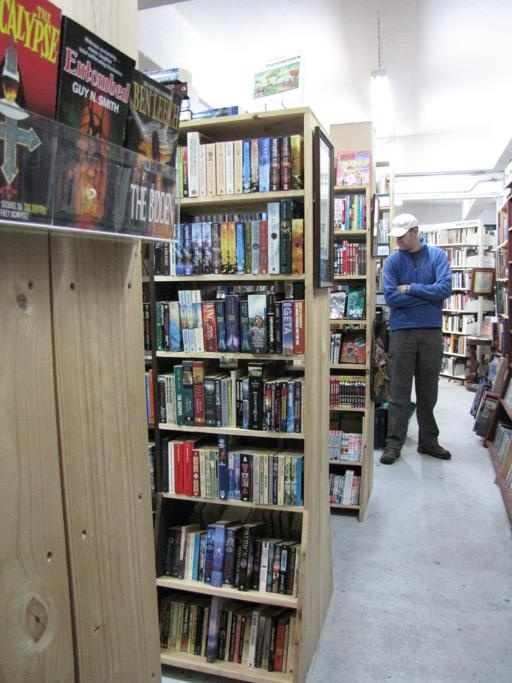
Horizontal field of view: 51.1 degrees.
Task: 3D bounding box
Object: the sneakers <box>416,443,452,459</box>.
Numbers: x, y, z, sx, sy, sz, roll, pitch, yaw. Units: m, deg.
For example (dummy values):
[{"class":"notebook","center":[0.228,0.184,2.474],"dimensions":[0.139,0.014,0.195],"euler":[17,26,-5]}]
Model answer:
[{"class":"sneakers","center":[1.603,0.986,4.795],"dimensions":[0.098,0.145,0.285],"euler":[-3,5,-41]}]
